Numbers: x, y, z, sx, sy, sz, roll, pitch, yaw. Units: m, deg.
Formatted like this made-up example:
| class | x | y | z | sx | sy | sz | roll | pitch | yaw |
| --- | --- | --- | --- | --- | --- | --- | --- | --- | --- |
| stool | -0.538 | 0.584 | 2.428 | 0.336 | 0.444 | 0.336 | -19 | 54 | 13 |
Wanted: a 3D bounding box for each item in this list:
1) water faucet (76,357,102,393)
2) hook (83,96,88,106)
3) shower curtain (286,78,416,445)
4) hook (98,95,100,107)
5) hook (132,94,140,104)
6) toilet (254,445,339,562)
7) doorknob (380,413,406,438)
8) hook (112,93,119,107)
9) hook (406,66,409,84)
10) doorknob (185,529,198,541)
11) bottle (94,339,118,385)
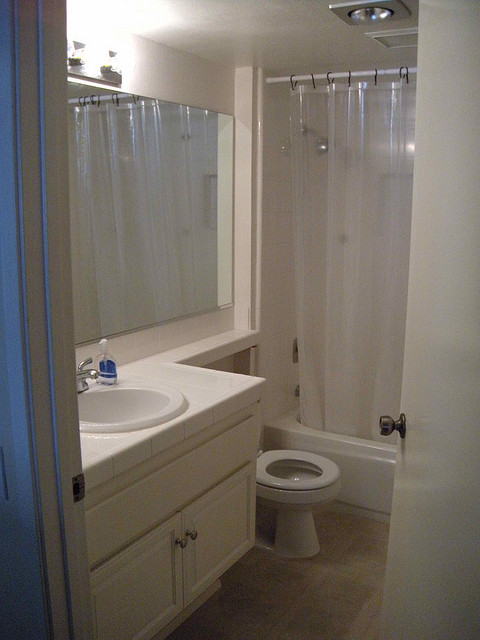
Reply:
| class | x | y | z | sx | sy | sz | roll | pitch | yaw |
| --- | --- | --- | --- | --- | --- | --- | --- | --- | --- |
| water faucet | -0.535 | 0.184 | 1.760 | 0.074 | 0.114 | 0.159 | -2 | 6 | -17 |
| hook | -0.586 | -0.825 | 1.872 | 0.003 | 0.039 | 0.022 | 3 | 6 | 33 |
| shower curtain | 0.570 | -0.287 | 2.631 | 0.631 | 1.912 | 0.301 | 3 | 6 | 26 |
| hook | -0.552 | -0.848 | 1.930 | 0.005 | 0.039 | 0.010 | -2 | 5 | -18 |
| hook | -0.442 | -0.935 | 2.087 | 0.009 | 0.032 | 0.047 | 2 | 6 | 17 |
| toilet | 0.242 | 0.788 | 2.362 | 0.296 | 0.390 | 0.423 | -7 | 18 | -14 |
| doorknob | 0.314 | 0.215 | 1.027 | 0.038 | 0.072 | 0.042 | -1 | -1 | -3 |
| hook | -0.503 | -0.890 | 2.000 | 0.011 | 0.047 | 0.041 | 2 | 6 | 20 |
| hook | 0.795 | -1.156 | 2.358 | 0.008 | 0.050 | 0.068 | 2 | 6 | 20 |
| doorknob | -0.157 | 0.691 | 1.602 | 0.030 | 0.024 | 0.026 | 18 | 34 | 20 |
| bottle | -0.493 | 0.154 | 1.813 | 0.070 | 0.159 | 0.068 | 0 | 5 | 0 |
